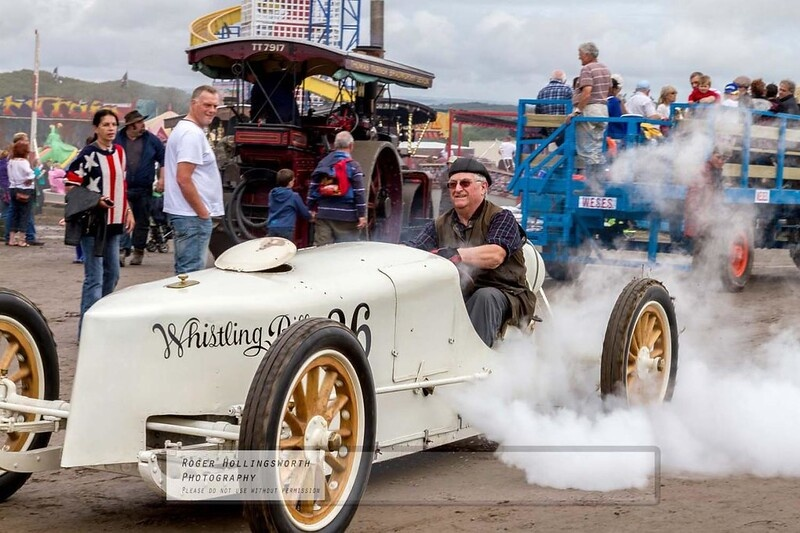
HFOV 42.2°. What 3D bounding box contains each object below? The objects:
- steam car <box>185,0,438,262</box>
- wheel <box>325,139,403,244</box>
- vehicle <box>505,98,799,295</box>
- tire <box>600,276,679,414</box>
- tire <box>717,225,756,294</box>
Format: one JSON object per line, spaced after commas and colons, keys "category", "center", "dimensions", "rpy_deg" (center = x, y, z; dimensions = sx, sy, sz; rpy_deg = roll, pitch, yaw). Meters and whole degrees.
{"category": "steam car", "center": [-1.071, -2.023, 15.791], "dimensions": [2.498, 3.605, 5.798], "rpy_deg": [3, 7, 27]}
{"category": "wheel", "center": [-0.454, -0.952, 12.710], "dimensions": [0.501, 1.659, 1.632], "rpy_deg": [1, -1, 21]}
{"category": "vehicle", "center": [3.787, -1.058, 13.713], "dimensions": [2.339, 2.118, 4.534], "rpy_deg": [4, 7, 38]}
{"category": "tire", "center": [1.651, 0.578, 7.212], "dimensions": [0.273, 0.820, 0.751], "rpy_deg": [11, 24, 36]}
{"category": "tire", "center": [4.079, -0.109, 12.775], "dimensions": [0.283, 0.802, 0.787], "rpy_deg": [6, 6, 30]}
